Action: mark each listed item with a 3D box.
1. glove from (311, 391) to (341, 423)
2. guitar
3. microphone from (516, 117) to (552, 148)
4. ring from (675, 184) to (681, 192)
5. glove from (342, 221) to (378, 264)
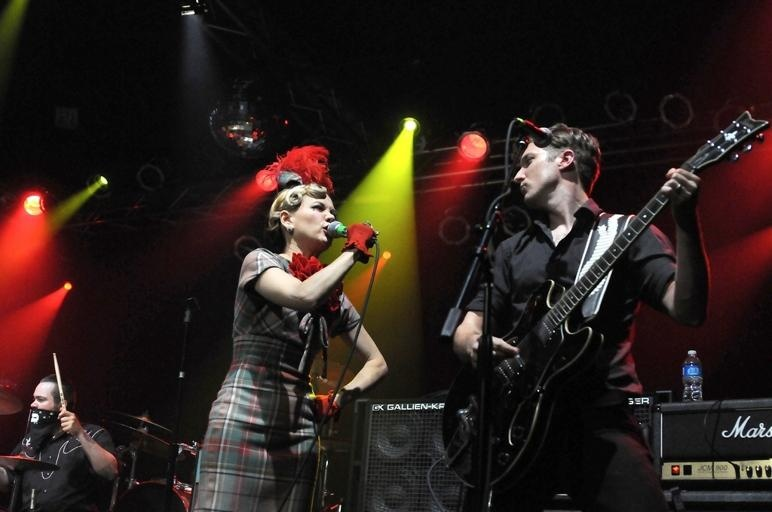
[{"bbox_3d":[-0.430,1.048,4.972,0.151,0.203,0.091,0,-24,-22],"label":"glove"},{"bbox_3d":[1.246,0.727,4.713,0.359,1.298,3.587,16,-61,-30],"label":"guitar"},{"bbox_3d":[1.067,-0.875,5.000,0.164,0.137,0.408,-3,-9,32],"label":"microphone"},{"bbox_3d":[1.776,-0.416,4.299,0.044,0.046,0.010,3,-1,32],"label":"ring"},{"bbox_3d":[-0.192,-0.061,5.078,0.234,0.266,0.109,8,-50,-10],"label":"glove"}]
